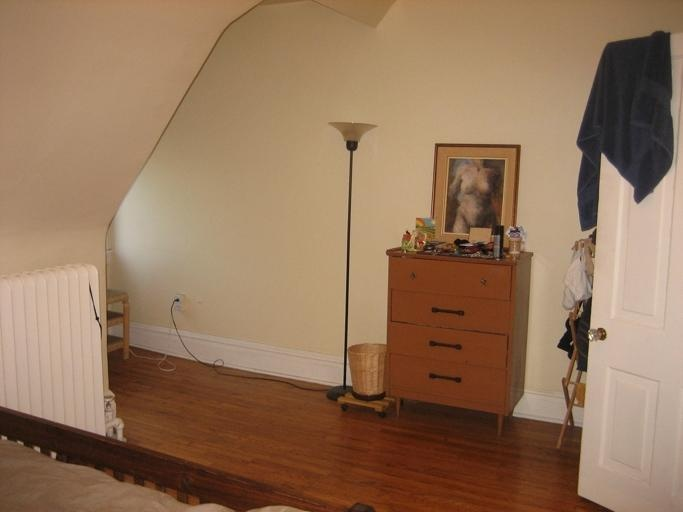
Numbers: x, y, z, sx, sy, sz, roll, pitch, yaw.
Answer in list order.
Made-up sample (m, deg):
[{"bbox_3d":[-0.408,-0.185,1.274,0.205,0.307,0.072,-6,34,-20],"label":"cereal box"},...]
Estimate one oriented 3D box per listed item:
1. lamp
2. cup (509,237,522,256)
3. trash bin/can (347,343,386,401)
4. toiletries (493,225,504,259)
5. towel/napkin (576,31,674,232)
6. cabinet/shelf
[{"bbox_3d":[0.082,0.032,4.603,0.325,2.038,0.600,1,11,2],"label":"lamp"},{"bbox_3d":[1.162,-0.059,4.026,0.100,0.123,0.099,-1,6,0],"label":"cup"},{"bbox_3d":[0.227,0.849,4.485,0.318,0.372,0.315,-5,8,-31],"label":"trash bin/can"},{"bbox_3d":[1.066,-0.115,4.095,0.084,0.197,0.417,3,12,14],"label":"toiletries"},{"bbox_3d":[1.440,-0.605,3.102,0.265,1.008,0.526,-3,12,-14],"label":"towel/napkin"},{"bbox_3d":[0.821,0.502,4.329,0.849,1.173,0.619,4,10,21],"label":"cabinet/shelf"}]
